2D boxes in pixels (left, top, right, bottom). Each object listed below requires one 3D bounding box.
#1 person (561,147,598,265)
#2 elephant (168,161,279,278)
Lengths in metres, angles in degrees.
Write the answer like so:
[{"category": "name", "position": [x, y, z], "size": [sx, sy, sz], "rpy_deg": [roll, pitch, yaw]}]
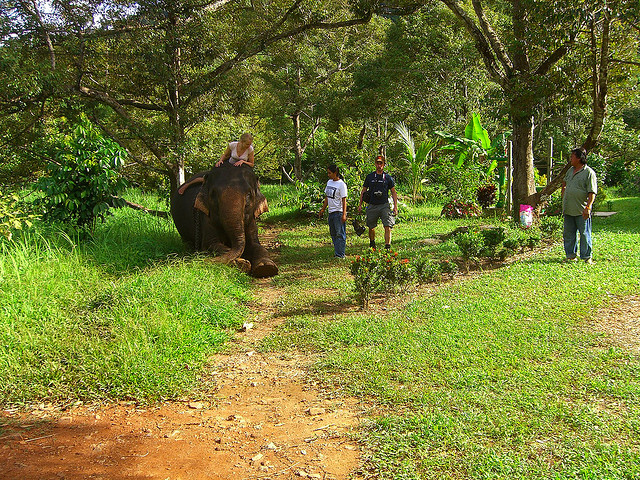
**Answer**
[{"category": "person", "position": [5.249, -0.704, 11.898], "size": [0.606, 2.233, 0.744], "rpy_deg": [2, 13, 24]}, {"category": "elephant", "position": [-2.313, -0.613, 14.003], "size": [2.149, 2.369, 4.478], "rpy_deg": [-2, 4, -24]}]
